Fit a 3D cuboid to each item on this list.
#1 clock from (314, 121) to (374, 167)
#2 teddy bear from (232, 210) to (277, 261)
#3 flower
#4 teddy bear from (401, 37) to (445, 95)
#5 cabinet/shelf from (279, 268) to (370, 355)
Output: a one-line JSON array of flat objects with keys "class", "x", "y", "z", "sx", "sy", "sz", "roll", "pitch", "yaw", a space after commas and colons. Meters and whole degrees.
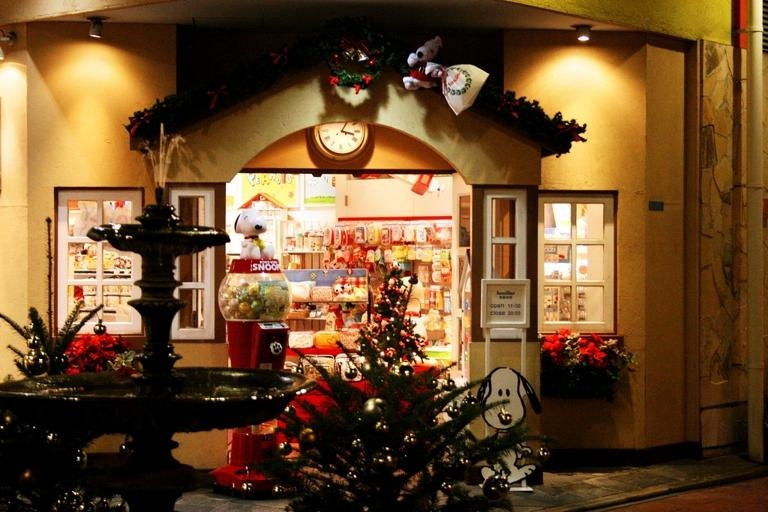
[{"class": "clock", "x": -0.442, "y": -1.235, "z": 11.369, "sx": 0.633, "sy": 0.405, "sz": 0.398, "roll": -2, "pitch": 3, "yaw": -15}, {"class": "teddy bear", "x": -1.350, "y": -0.233, "z": 10.919, "sx": 0.422, "sy": 0.557, "sz": 0.476, "roll": -1, "pitch": -3, "yaw": -19}, {"class": "flower", "x": 2.153, "y": 1.040, "z": 11.174, "sx": 0.998, "sy": 0.531, "sz": 0.297, "roll": -1, "pitch": -1, "yaw": -17}, {"class": "teddy bear", "x": 0.391, "y": -1.944, "z": 10.577, "sx": 0.419, "sy": 0.547, "sz": 0.321, "roll": 5, "pitch": 18, "yaw": 6}, {"class": "cabinet/shelf", "x": -0.685, "y": 0.621, "z": 12.039, "sx": 1.109, "sy": 0.942, "sz": 0.353, "roll": 1, "pitch": -3, "yaw": 1}]
